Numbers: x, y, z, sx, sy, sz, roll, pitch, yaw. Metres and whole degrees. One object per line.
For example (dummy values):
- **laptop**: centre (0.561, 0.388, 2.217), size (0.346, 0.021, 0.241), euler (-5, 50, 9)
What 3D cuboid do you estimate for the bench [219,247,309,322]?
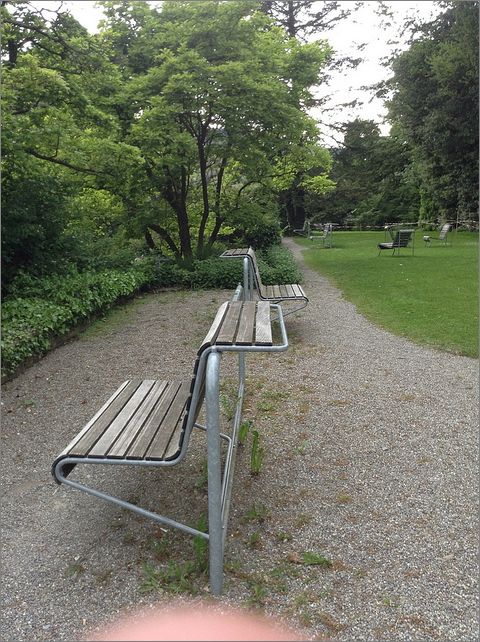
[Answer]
- **bench**: centre (0.337, -0.443, 6.562), size (1.133, 0.813, 1.063), euler (0, 14, 1)
